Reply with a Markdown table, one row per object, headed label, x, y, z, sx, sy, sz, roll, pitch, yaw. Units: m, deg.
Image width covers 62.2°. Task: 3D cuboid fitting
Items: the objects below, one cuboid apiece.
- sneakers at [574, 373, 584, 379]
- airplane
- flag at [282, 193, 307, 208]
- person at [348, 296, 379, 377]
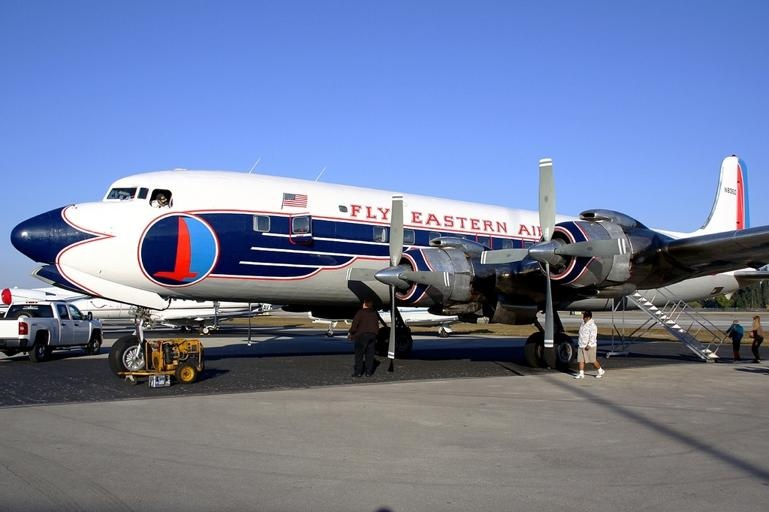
| label | x | y | z | sx | sy | sz | roll | pitch | yaw |
| --- | --- | --- | --- | --- | --- | --- | --- | --- | --- |
| sneakers | 4.878 | 3.067 | 16.182 | 0.363 | 0.150 | 0.119 | 0 | -1 | 8 |
| airplane | 0.810 | 0.389 | 18.449 | 18.815 | 5.482 | 7.555 | 0 | -1 | 5 |
| flag | -2.481 | -1.519 | 17.492 | 0.693 | 0.357 | 0.040 | 3 | -38 | -11 |
| person | -0.497 | 2.148 | 16.730 | 0.679 | 1.936 | 1.206 | 0 | -1 | 1 |
